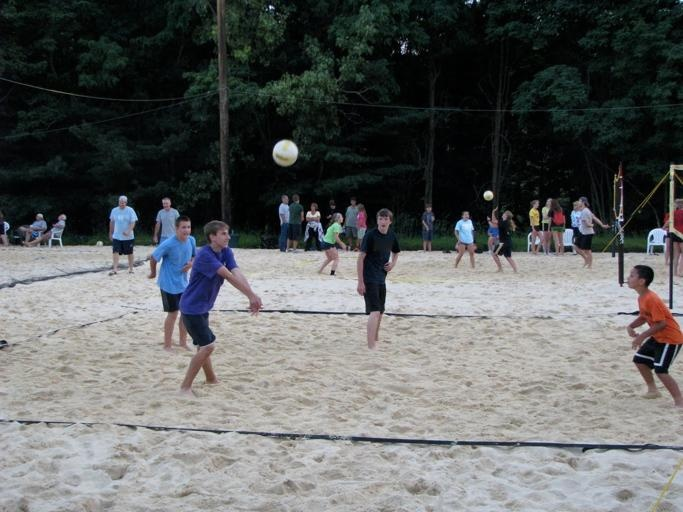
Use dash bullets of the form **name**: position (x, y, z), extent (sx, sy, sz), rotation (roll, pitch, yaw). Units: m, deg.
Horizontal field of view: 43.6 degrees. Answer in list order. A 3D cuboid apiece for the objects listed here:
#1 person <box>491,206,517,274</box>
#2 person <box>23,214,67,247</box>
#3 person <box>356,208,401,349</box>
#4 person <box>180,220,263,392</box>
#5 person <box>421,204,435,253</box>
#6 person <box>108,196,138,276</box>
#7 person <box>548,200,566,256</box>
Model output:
- **person**: position (3.773, -0.365, 19.567), extent (0.576, 1.357, 2.194), rotation (1, 2, 11)
- **person**: position (-9.316, -0.825, 26.838), extent (1.043, 0.979, 2.738), rotation (0, 3, -22)
- **person**: position (0.541, 0.340, 12.433), extent (0.605, 2.006, 0.399), rotation (0, 2, -11)
- **person**: position (-1.543, 0.650, 10.775), extent (0.987, 2.177, 0.451), rotation (2, 3, 27)
- **person**: position (2.545, -0.798, 24.983), extent (0.275, 1.301, 0.498), rotation (1, 2, 1)
- **person**: position (-4.586, -0.425, 17.899), extent (0.526, 1.629, 1.323), rotation (0, 2, -15)
- **person**: position (5.843, -0.783, 23.062), extent (0.382, 1.474, 2.186), rotation (1, 2, 15)
